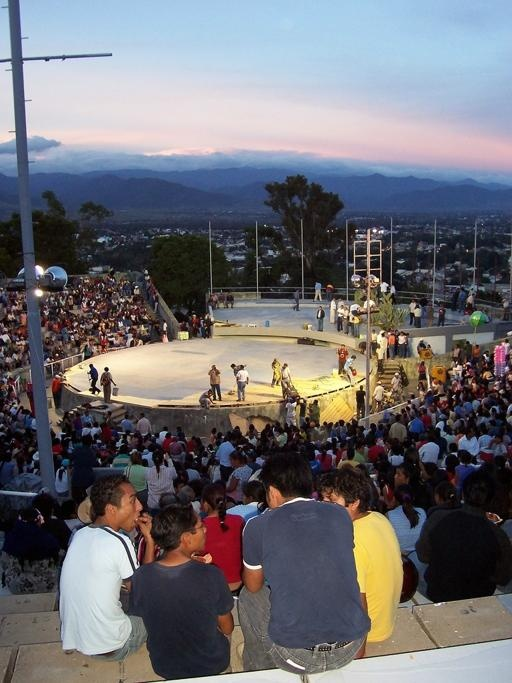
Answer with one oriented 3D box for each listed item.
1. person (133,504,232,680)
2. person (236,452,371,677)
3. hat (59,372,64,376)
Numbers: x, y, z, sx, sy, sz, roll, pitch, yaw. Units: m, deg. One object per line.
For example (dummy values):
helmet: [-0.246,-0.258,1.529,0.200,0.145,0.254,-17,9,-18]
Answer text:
person: [-0.410,1.419,2.930,0.536,0.967,0.325,-3,8,-14]
person: [0.215,1.302,2.819,0.510,1.318,0.674,-4,8,-26]
hat: [-9.704,1.572,26.846,0.185,0.113,0.247,-1,-1,-1]
